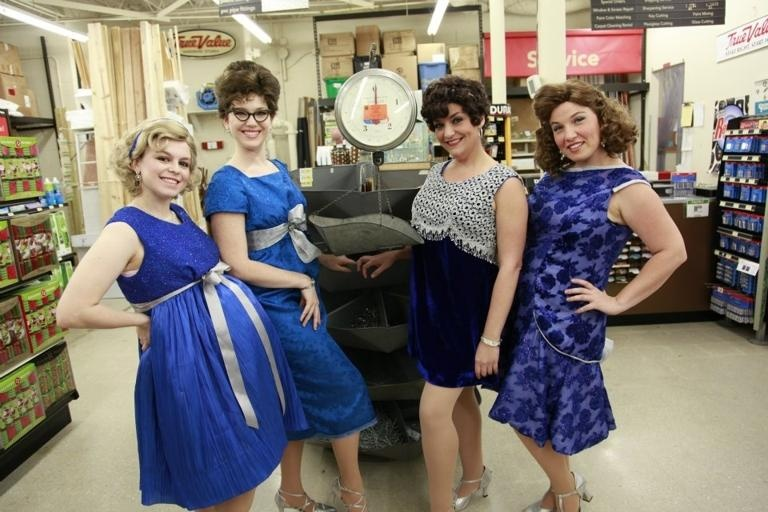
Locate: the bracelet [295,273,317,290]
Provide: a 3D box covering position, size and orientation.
[{"bbox_3d":[-0.412,0.123,2.927,0.096,0.026,0.074,3,52,-37],"label":"bracelet"}]
